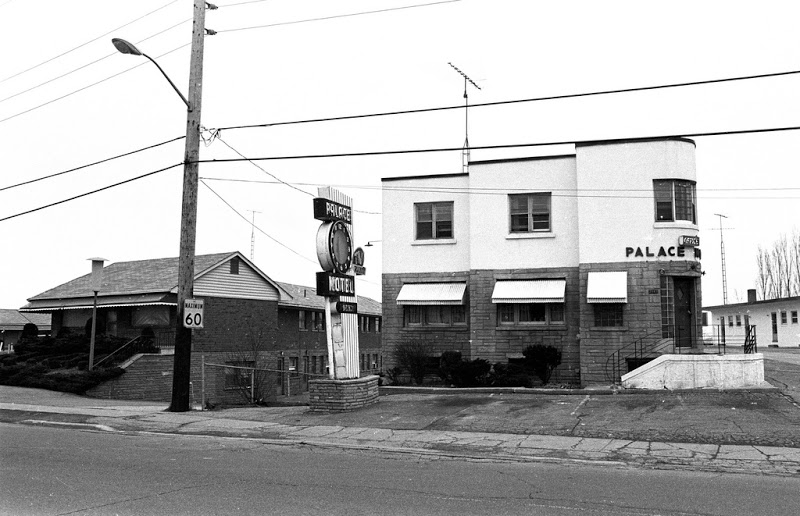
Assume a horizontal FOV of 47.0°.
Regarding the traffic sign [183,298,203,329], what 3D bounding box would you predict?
[{"bbox_3d":[-7.122,1.935,31.619,0.418,1.017,0.932,-4,-8,27],"label":"traffic sign"}]
